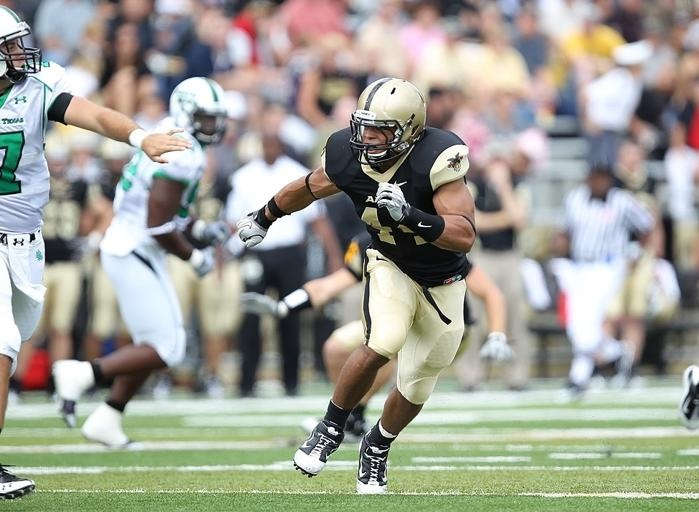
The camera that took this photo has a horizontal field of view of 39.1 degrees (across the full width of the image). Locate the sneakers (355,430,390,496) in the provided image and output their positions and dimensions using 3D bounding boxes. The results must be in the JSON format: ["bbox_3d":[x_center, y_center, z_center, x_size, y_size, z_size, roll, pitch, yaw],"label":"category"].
[{"bbox_3d":[0.119,1.103,5.202,0.110,0.354,0.152,4,-21,-15],"label":"sneakers"}]

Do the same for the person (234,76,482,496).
[{"bbox_3d":[0.094,0.185,5.196,1.160,2.148,1.181,2,2,-19],"label":"person"}]

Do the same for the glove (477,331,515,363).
[{"bbox_3d":[0.947,0.601,6.385,0.164,0.195,0.254,8,-18,-5],"label":"glove"}]

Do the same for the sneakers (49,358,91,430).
[{"bbox_3d":[-1.831,0.846,6.563,0.234,0.571,0.189,-4,22,-3],"label":"sneakers"}]

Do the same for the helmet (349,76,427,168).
[{"bbox_3d":[0.216,-0.732,5.204,0.451,0.407,0.355,-26,32,-32],"label":"helmet"}]

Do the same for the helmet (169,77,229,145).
[{"bbox_3d":[-1.041,-1.013,6.723,0.440,0.435,0.346,21,20,28],"label":"helmet"}]

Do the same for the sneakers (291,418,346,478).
[{"bbox_3d":[-0.140,0.955,4.965,0.141,0.199,0.408,22,24,13],"label":"sneakers"}]
